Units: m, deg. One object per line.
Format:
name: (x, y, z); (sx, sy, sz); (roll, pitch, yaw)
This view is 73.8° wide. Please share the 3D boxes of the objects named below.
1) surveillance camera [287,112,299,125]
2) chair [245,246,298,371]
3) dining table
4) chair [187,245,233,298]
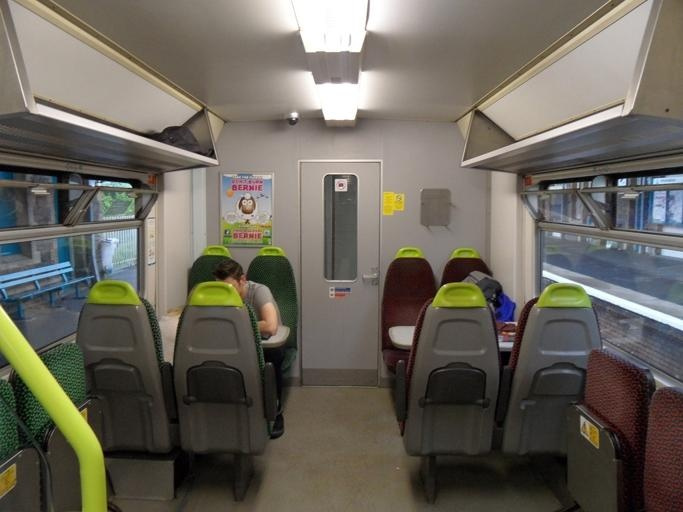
surveillance camera: (-0.501, -1.444, 4.778); (0.075, 0.027, 0.109); (4, -37, -1)
chair: (-0.673, 0.346, 4.454); (0.624, 1.011, 0.776); (1, -10, -12)
dining table: (1.449, 0.813, 3.351); (0.647, 1.174, 0.927); (3, -4, 4)
chair: (-1.322, 0.136, 4.899); (0.449, 0.654, 0.616); (-3, -14, -15)
